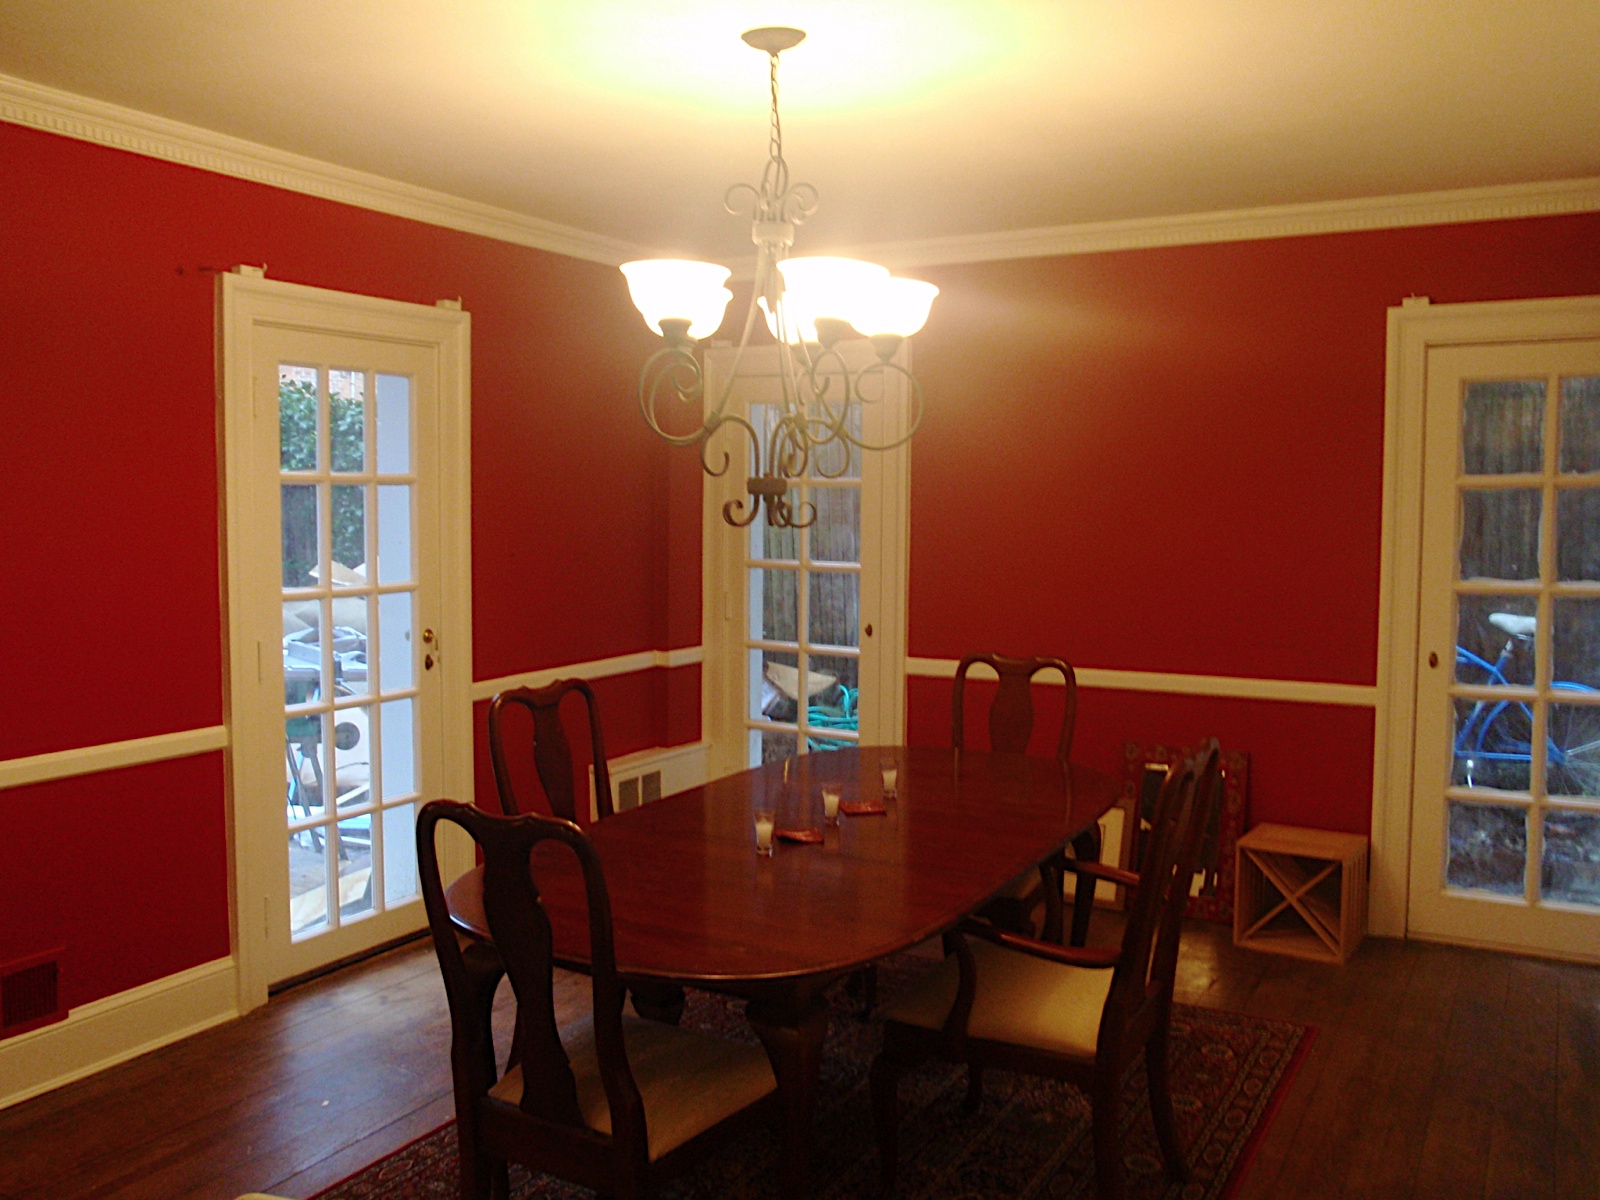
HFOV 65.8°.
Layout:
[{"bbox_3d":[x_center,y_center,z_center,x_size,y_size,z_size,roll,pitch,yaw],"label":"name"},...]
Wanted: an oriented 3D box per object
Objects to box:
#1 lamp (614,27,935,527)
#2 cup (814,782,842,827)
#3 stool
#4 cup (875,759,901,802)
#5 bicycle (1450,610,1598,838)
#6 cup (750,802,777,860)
[{"bbox_3d":[-0.093,-1.030,3.809,0.947,1.442,0.937,0,3,-23],"label":"lamp"},{"bbox_3d":[0.093,0.642,3.879,0.079,0.127,0.088,0,-6,2],"label":"cup"},{"bbox_3d":[2.058,1.192,5.076,0.414,0.432,0.317,2,7,41],"label":"stool"},{"bbox_3d":[0.297,0.622,4.169,0.075,0.140,0.087,0,-3,-1],"label":"cup"},{"bbox_3d":[2.918,0.478,4.954,0.817,1.000,0.086,0,-1,24],"label":"bicycle"},{"bbox_3d":[-0.103,0.675,3.613,0.085,0.150,0.099,0,-8,3],"label":"cup"}]
